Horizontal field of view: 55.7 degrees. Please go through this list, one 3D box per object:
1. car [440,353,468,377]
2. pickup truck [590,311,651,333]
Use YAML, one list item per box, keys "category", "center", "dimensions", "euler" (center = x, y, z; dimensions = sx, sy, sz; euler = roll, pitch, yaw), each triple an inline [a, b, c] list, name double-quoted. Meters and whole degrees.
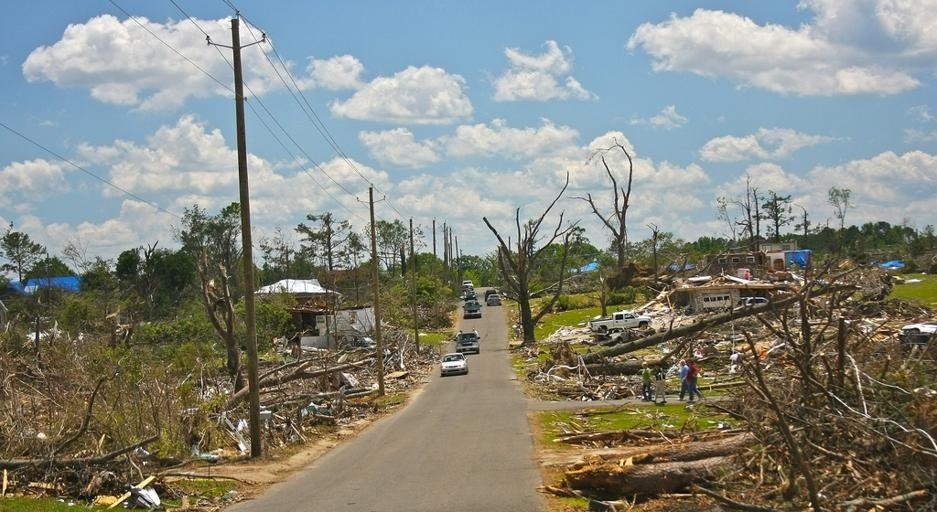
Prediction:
- category: "car"
  center: [-1.142, 8.441, 69.190]
  dimensions: [2.078, 1.639, 1.327]
  euler: [-6, -6, -1]
- category: "pickup truck"
  center: [14.022, 6.091, 81.823]
  dimensions: [4.871, 1.759, 2.182]
  euler: [-5, 2, 7]
